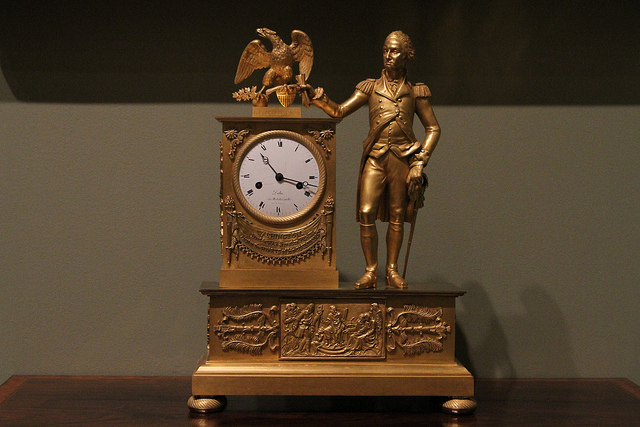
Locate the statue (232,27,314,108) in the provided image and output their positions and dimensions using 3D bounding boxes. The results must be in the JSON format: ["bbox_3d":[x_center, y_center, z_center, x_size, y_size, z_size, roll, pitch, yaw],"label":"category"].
[{"bbox_3d":[-0.434,-1.395,9.179,0.952,0.898,0.368,-1,0,3],"label":"statue"}]

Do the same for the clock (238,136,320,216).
[{"bbox_3d":[-0.364,-0.321,8.885,0.837,0.778,0.070,-3,10,-21],"label":"clock"}]
